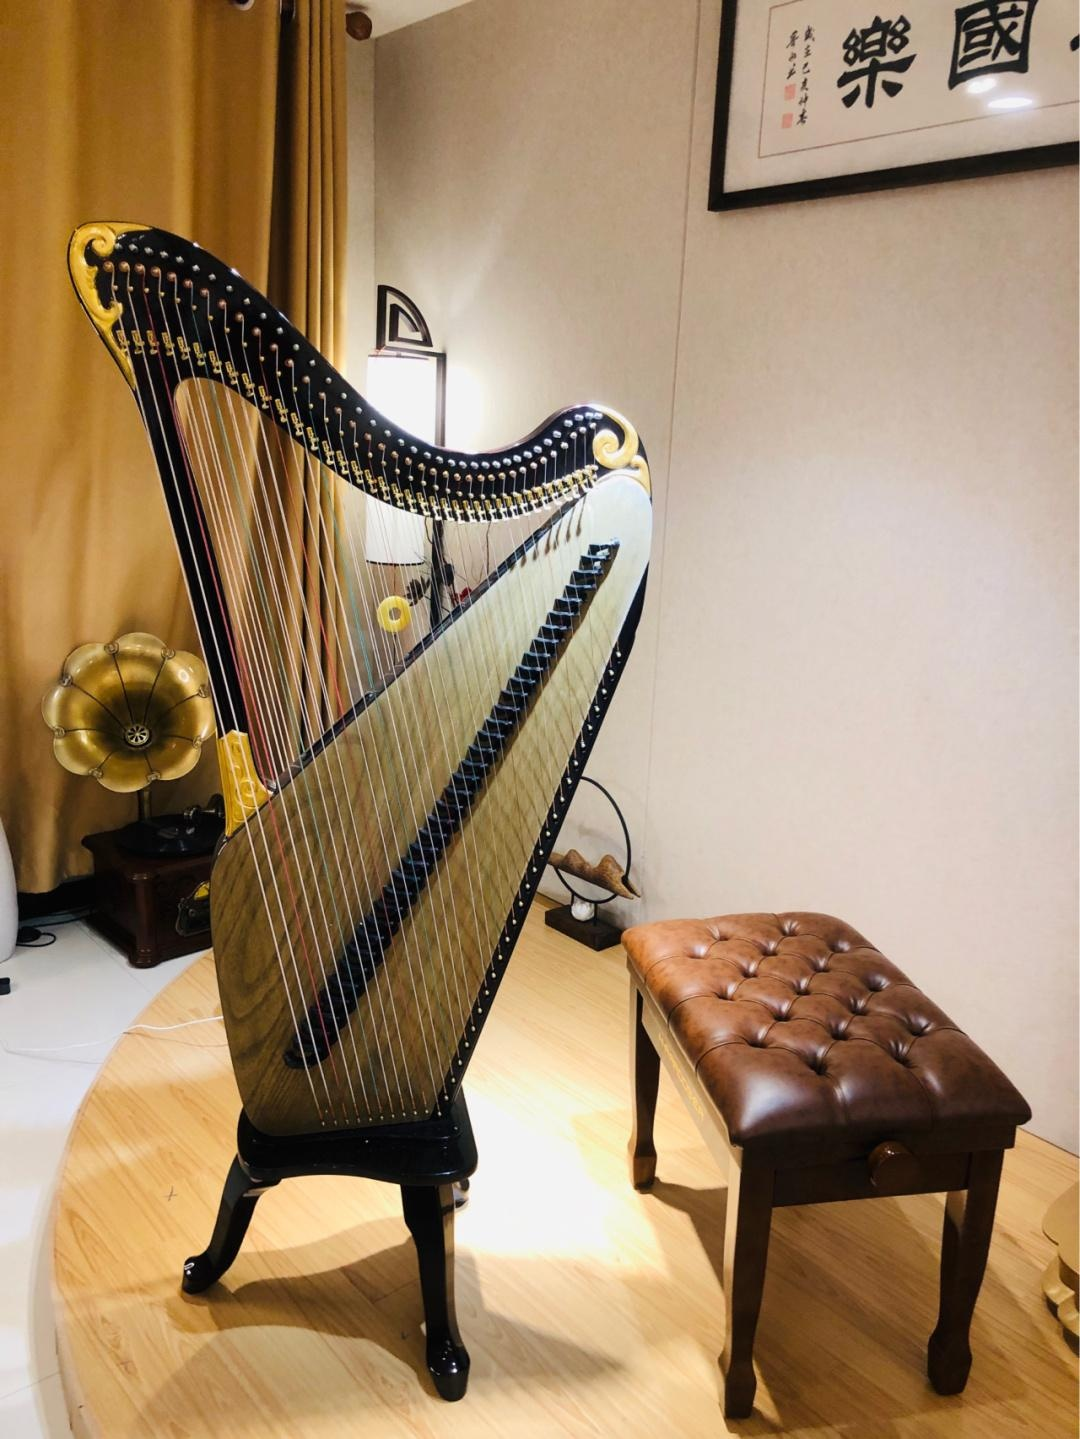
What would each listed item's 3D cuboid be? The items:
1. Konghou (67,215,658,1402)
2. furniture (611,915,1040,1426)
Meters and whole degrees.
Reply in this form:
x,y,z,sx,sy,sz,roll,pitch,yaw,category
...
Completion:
x,y,z,sx,sy,sz,roll,pitch,yaw,category
-0.274,0.048,2.051,0.689,1.462,1.336,-2,14,-12,Konghou
0.378,0.641,1.844,0.404,0.531,0.611,0,15,-10,furniture
